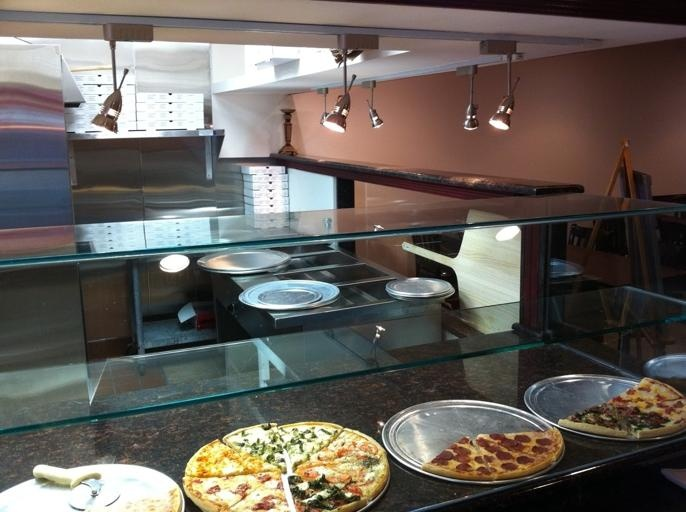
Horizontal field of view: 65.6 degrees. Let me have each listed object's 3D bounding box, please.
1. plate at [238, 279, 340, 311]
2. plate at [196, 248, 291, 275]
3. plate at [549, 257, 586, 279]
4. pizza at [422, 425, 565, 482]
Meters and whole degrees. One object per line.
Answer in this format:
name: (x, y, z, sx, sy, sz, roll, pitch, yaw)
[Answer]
plate: (-0.104, 0.082, 1.117, 0.227, 0.067, 0.041, -9, 16, -29)
plate: (-0.202, 0.014, 1.062, 0.115, 0.008, 0.076, -7, 15, -28)
plate: (0.577, 0.034, 1.354, 0.091, 0.015, 0.066, -10, 25, -35)
pizza: (0.291, 0.381, 1.013, 0.294, 0.032, 0.118, -3, 12, -5)
